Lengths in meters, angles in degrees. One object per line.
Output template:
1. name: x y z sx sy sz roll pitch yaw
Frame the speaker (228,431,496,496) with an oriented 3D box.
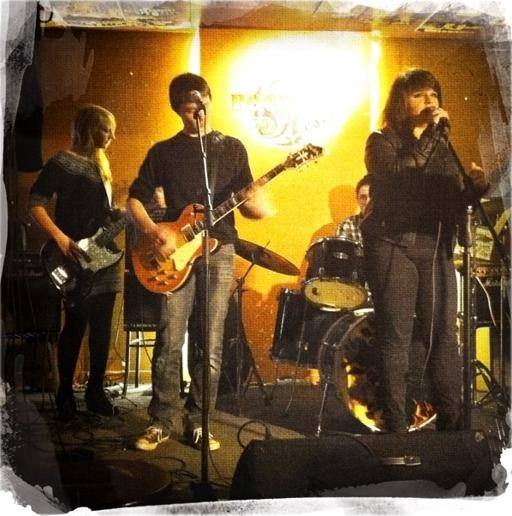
1. speaker: 0.530 0.996 3.175 1.275 0.347 0.149 6 0 -7

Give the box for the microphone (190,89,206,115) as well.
1. microphone: -0.279 -0.755 3.239 0.080 0.113 0.050 5 0 -1

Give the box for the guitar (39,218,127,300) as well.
1. guitar: -0.834 0.001 3.315 0.247 0.531 0.064 46 -2 -6

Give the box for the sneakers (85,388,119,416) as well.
1. sneakers: -0.762 0.705 3.320 0.148 0.168 0.097 0 1 -11

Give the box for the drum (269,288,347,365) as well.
1. drum: 0.237 0.307 3.330 0.340 0.379 0.254 16 21 26

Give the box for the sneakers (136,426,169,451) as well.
1. sneakers: -0.502 0.869 3.246 0.104 0.128 0.049 56 3 36

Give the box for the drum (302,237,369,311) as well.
1. drum: 0.433 0.076 3.379 0.318 0.342 0.312 -7 9 43
